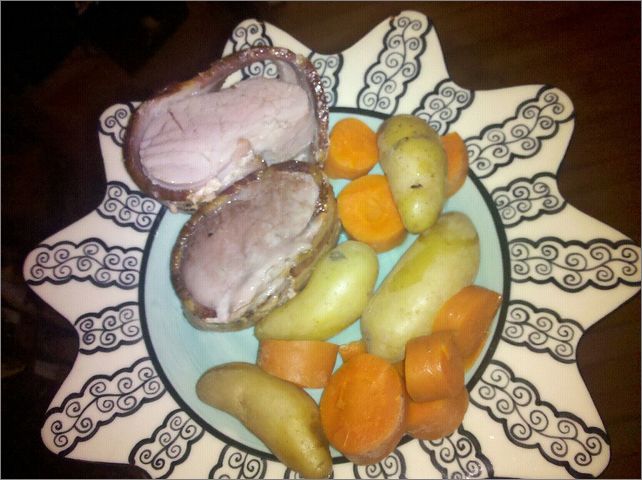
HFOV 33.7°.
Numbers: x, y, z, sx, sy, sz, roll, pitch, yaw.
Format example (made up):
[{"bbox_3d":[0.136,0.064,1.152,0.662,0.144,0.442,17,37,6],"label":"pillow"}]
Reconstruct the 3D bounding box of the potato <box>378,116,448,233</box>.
[{"bbox_3d":[0.390,-0.283,4.394,0.218,0.158,0.513,-8,85,2],"label":"potato"}]
